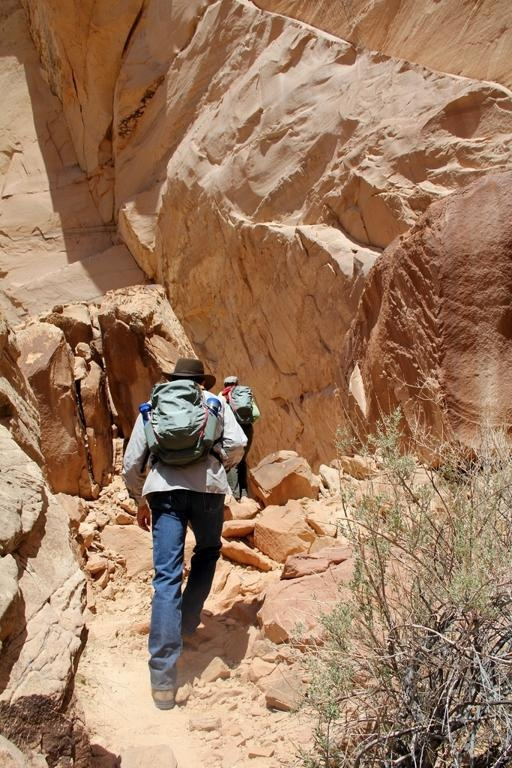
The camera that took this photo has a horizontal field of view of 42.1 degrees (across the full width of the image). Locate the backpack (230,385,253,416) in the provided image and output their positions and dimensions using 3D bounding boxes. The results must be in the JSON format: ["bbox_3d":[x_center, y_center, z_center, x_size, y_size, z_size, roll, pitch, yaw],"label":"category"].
[{"bbox_3d":[-0.087,0.106,4.018,0.128,0.102,0.180,3,50,-17],"label":"backpack"}]

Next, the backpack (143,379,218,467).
[{"bbox_3d":[-0.288,0.156,2.625,0.269,0.238,0.348,-11,58,4],"label":"backpack"}]

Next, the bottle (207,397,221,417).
[{"bbox_3d":[-0.178,0.093,2.661,0.051,0.070,0.071,3,17,-18],"label":"bottle"}]
